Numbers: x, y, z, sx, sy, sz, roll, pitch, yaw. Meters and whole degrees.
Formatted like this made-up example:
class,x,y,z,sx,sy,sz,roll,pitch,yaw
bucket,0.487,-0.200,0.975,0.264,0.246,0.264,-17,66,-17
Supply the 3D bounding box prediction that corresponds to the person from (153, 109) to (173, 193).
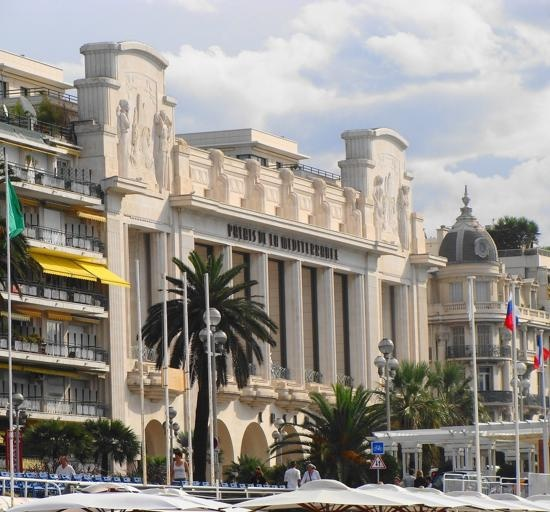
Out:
class,x,y,z,sx,sy,sz,roll,pitch,yaw
person,-4.875,-4.741,86.498,0.322,3.773,1.281,-5,-9,25
